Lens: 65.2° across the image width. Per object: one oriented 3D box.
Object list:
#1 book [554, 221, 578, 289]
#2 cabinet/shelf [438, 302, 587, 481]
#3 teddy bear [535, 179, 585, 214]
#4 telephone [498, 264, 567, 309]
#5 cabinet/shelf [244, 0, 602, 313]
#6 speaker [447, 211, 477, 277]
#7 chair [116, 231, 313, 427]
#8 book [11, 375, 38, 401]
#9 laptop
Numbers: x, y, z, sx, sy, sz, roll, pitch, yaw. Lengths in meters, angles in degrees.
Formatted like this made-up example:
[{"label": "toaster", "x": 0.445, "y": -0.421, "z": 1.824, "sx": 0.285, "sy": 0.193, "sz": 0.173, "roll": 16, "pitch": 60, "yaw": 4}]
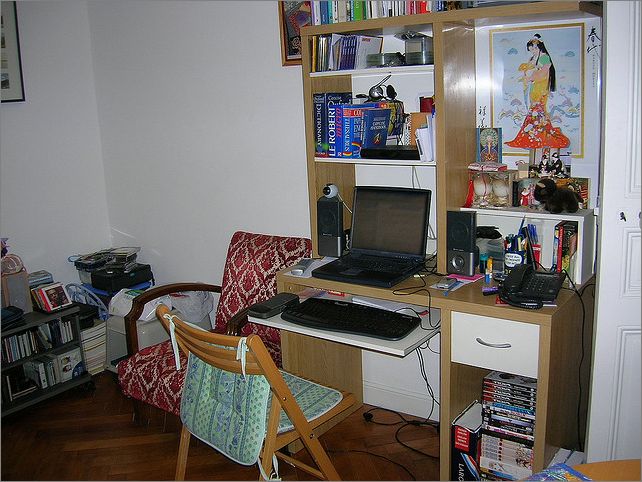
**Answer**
[{"label": "book", "x": 1.173, "y": 0.069, "z": 2.399, "sx": 0.093, "sy": 0.287, "sz": 0.290, "roll": 3, "pitch": 6, "yaw": 27}, {"label": "cabinet/shelf", "x": 0.995, "y": 0.713, "z": 2.550, "sx": 0.721, "sy": 0.970, "sz": 0.477, "roll": -13, "pitch": 17, "yaw": -43}, {"label": "teddy bear", "x": 1.149, "y": -0.221, "z": 2.428, "sx": 0.217, "sy": 0.152, "sz": 0.206, "roll": 5, "pitch": 14, "yaw": 27}, {"label": "telephone", "x": 0.992, "y": 0.179, "z": 2.328, "sx": 0.223, "sy": 0.071, "sz": 0.310, "roll": 3, "pitch": 16, "yaw": 34}, {"label": "cabinet/shelf", "x": 0.598, "y": -0.450, "z": 2.688, "sx": 1.746, "sy": 1.714, "sz": 0.529, "roll": 6, "pitch": 15, "yaw": 30}, {"label": "speaker", "x": 0.714, "y": 0.016, "z": 2.577, "sx": 0.150, "sy": 0.341, "sz": 0.047, "roll": 8, "pitch": 16, "yaw": 40}, {"label": "chair", "x": -0.582, "y": 0.464, "z": 3.400, "sx": 0.967, "sy": 1.386, "sz": 1.322, "roll": 8, "pitch": 10, "yaw": 32}, {"label": "book", "x": -2.066, "y": 1.009, "z": 3.465, "sx": 0.120, "sy": 0.031, "sz": 0.130, "roll": 14, "pitch": 16, "yaw": 39}, {"label": "laptop", "x": 0.316, "y": -0.040, "z": 2.790, "sx": 0.545, "sy": 0.494, "sz": 0.582, "roll": 10, "pitch": 18, "yaw": 38}]
